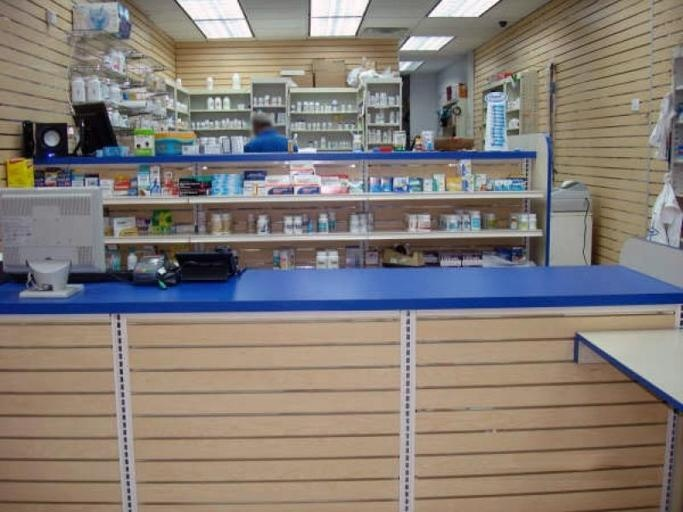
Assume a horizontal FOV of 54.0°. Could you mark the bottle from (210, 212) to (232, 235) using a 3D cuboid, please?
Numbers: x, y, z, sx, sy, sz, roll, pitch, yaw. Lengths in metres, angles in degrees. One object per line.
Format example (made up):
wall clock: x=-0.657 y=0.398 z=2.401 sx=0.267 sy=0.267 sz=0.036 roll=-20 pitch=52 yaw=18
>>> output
bottle: x=-1.153 y=-0.286 z=6.542 sx=0.268 sy=0.235 sz=0.185 roll=0 pitch=-2 yaw=-8

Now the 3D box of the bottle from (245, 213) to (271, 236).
bottle: x=-0.810 y=-0.297 z=6.553 sx=0.246 sy=0.204 sz=0.217 roll=0 pitch=0 yaw=0

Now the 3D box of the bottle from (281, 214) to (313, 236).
bottle: x=-0.420 y=-0.307 z=6.597 sx=0.294 sy=0.173 sz=0.370 roll=-2 pitch=7 yaw=-3

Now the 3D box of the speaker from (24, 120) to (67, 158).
speaker: x=-2.835 y=-1.097 z=6.446 sx=0.419 sy=0.349 sz=0.216 roll=-1 pitch=1 yaw=-19

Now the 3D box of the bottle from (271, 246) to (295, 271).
bottle: x=-0.547 y=0.052 z=6.581 sx=0.273 sy=0.177 sz=0.251 roll=-2 pitch=6 yaw=0

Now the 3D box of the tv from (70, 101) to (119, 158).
tv: x=-2.435 y=-1.238 z=6.627 sx=0.505 sy=0.510 sz=0.331 roll=-1 pitch=8 yaw=3

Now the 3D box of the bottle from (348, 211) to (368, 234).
bottle: x=0.174 y=-0.309 z=6.541 sx=0.269 sy=0.230 sz=0.181 roll=0 pitch=-3 yaw=-7
